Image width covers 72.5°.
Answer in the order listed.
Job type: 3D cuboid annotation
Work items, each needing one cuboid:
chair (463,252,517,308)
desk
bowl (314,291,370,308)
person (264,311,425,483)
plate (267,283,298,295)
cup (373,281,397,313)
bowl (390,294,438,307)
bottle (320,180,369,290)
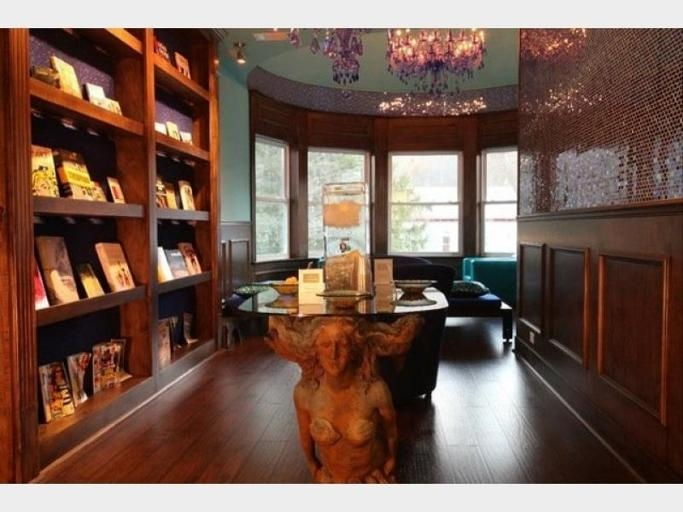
[{"bbox_3d":[2.235,0.316,7.001,0.636,0.664,0.951,0,0,7],"label":"chair"},{"bbox_3d":[0.267,0.525,2.950,1.239,0.691,0.981,-1,-2,5],"label":"desk"},{"bbox_3d":[0.021,0.215,2.329,0.208,0.062,0.256,-7,6,-28],"label":"bowl"},{"bbox_3d":[0.038,0.789,2.531,0.878,0.987,0.417,-2,4,2],"label":"person"},{"bbox_3d":[-0.328,0.190,2.719,0.163,0.058,0.074,-1,7,33],"label":"plate"},{"bbox_3d":[0.241,0.229,2.548,0.119,0.226,0.124,2,-35,1],"label":"cup"},{"bbox_3d":[0.423,0.255,2.608,0.219,0.056,0.342,-3,6,12],"label":"bowl"},{"bbox_3d":[0.030,-0.105,2.550,0.261,0.596,0.315,-4,6,2],"label":"bottle"}]
